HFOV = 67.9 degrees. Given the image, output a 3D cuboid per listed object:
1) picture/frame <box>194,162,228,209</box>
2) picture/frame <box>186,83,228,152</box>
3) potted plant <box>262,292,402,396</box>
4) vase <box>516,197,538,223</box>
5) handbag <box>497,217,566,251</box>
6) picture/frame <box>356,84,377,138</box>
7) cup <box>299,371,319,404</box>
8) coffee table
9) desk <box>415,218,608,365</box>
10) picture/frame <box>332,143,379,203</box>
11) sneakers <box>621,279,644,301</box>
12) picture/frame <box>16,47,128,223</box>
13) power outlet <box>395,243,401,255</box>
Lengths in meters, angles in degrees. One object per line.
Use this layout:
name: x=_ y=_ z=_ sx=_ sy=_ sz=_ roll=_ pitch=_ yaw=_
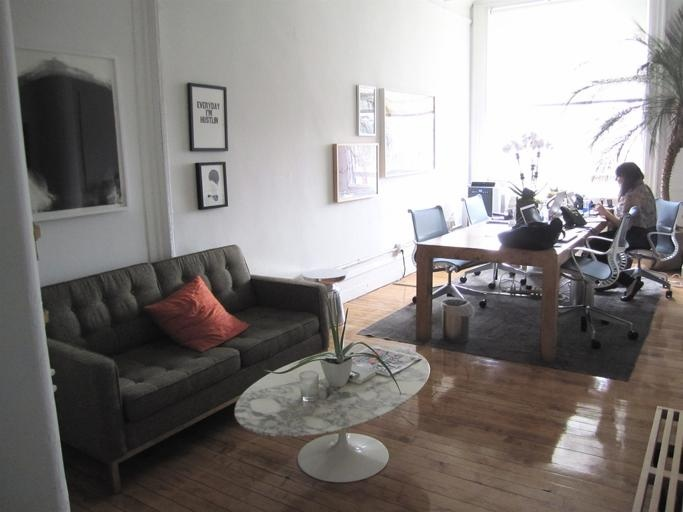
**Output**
picture/frame: x=-1.076 y=-0.576 z=4.137 sx=0.057 sy=0.425 sz=0.361 roll=2 pitch=9 yaw=35
picture/frame: x=-1.090 y=-1.119 z=4.060 sx=0.042 sy=0.652 sz=0.539 roll=4 pitch=9 yaw=28
potted plant: x=0.047 y=0.540 z=2.893 sx=0.593 sy=0.406 sz=0.582 roll=-2 pitch=2 yaw=-24
vase: x=1.748 y=-0.419 z=4.818 sx=0.255 sy=0.248 sz=0.450 roll=-5 pitch=2 yaw=20
handbag: x=1.494 y=-0.187 z=4.051 sx=0.408 sy=0.198 sz=0.249 roll=3 pitch=12 yaw=25
picture/frame: x=0.267 y=-1.676 z=5.809 sx=0.058 sy=0.796 sz=0.583 roll=5 pitch=10 yaw=30
cup: x=-0.163 y=0.659 z=2.540 sx=0.129 sy=0.147 sz=0.135 roll=0 pitch=1 yaw=0
coffee table: x=-0.019 y=0.928 z=2.737 sx=1.078 sy=0.524 sz=0.710 roll=-8 pitch=14 yaw=-24
desk: x=1.479 y=0.237 z=4.787 sx=1.335 sy=0.893 sz=1.435 roll=5 pitch=14 yaw=30
picture/frame: x=0.130 y=-0.942 z=5.686 sx=0.066 sy=0.500 sz=0.703 roll=4 pitch=12 yaw=31
sneakers: x=3.058 y=0.367 z=5.349 sx=0.089 sy=0.231 sz=0.078 roll=16 pitch=23 yaw=-1
picture/frame: x=-1.728 y=-0.776 z=3.295 sx=0.114 sy=1.020 sz=0.686 roll=4 pitch=14 yaw=27
power outlet: x=0.735 y=-0.095 z=6.683 sx=0.090 sy=0.113 sz=0.095 roll=-5 pitch=14 yaw=-19
